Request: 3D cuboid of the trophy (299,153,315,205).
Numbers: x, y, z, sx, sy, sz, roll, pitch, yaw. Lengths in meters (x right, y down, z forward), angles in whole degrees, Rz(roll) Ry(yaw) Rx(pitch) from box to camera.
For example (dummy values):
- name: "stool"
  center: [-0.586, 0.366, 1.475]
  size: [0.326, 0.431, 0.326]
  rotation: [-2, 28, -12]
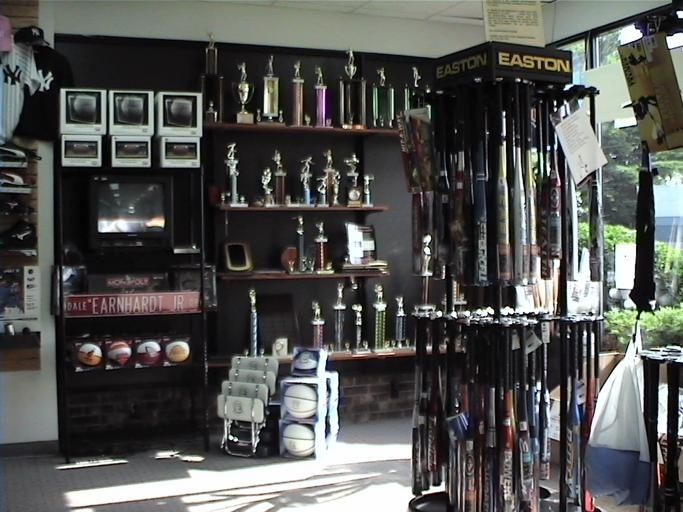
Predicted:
- name: "trophy"
  center: [-0.346, -0.717, 5.486]
  size: [0.152, 0.421, 0.109]
  rotation: [0, 6, -25]

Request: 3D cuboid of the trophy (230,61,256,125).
- name: "trophy"
  center: [-0.892, -1.456, 5.282]
  size: [0.206, 0.496, 0.201]
  rotation: [4, 12, 16]

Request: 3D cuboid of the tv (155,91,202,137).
- name: "tv"
  center: [-1.340, -1.192, 5.009]
  size: [0.492, 0.358, 0.501]
  rotation: [-3, 8, -40]

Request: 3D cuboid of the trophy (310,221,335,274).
- name: "trophy"
  center: [-0.175, -0.088, 5.482]
  size: [0.181, 0.473, 0.286]
  rotation: [1, 3, -2]

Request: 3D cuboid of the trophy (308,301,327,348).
- name: "trophy"
  center: [-0.233, 0.639, 5.496]
  size: [0.142, 0.427, 0.323]
  rotation: [0, 3, -2]

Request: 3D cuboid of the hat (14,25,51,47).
- name: "hat"
  center: [-2.518, -1.787, 4.749]
  size: [0.221, 0.121, 0.142]
  rotation: [8, 17, 12]

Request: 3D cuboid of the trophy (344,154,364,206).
- name: "trophy"
  center: [0.111, -0.726, 5.546]
  size: [0.172, 0.477, 0.153]
  rotation: [-2, 8, 1]

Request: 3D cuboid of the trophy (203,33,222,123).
- name: "trophy"
  center: [-1.148, -1.547, 5.163]
  size: [0.174, 0.753, 0.137]
  rotation: [1, 3, -1]

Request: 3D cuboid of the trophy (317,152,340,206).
- name: "trophy"
  center: [-0.102, -0.728, 5.505]
  size: [0.163, 0.507, 0.199]
  rotation: [-3, 2, -8]

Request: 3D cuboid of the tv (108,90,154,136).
- name: "tv"
  center: [-1.830, -1.237, 4.896]
  size: [0.388, 0.373, 0.387]
  rotation: [-7, 26, -33]

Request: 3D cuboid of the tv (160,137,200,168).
- name: "tv"
  center: [-1.345, -0.828, 4.851]
  size: [0.265, 0.207, 0.274]
  rotation: [0, 0, -15]

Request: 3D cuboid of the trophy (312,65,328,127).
- name: "trophy"
  center: [-0.195, -1.496, 5.470]
  size: [0.110, 0.603, 0.237]
  rotation: [0, 3, -3]

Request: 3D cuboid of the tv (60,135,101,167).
- name: "tv"
  center: [-2.094, -0.842, 4.760]
  size: [0.321, 0.274, 0.183]
  rotation: [0, -5, -4]

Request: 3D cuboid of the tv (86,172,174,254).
- name: "tv"
  center: [-1.878, -0.302, 5.109]
  size: [0.689, 0.624, 0.383]
  rotation: [-1, -13, -29]

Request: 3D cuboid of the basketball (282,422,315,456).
- name: "basketball"
  center: [-0.359, 1.473, 4.802]
  size: [0.277, 0.246, 0.209]
  rotation: [5, -1, 34]

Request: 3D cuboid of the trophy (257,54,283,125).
- name: "trophy"
  center: [-0.650, -1.499, 5.289]
  size: [0.250, 0.600, 0.208]
  rotation: [1, 16, -6]

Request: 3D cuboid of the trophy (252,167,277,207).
- name: "trophy"
  center: [-0.710, -0.639, 5.366]
  size: [0.193, 0.371, 0.343]
  rotation: [0, 4, -8]

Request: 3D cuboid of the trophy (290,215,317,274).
- name: "trophy"
  center: [-0.333, -0.108, 5.493]
  size: [0.328, 0.526, 0.307]
  rotation: [0, 0, -20]

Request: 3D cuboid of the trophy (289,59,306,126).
- name: "trophy"
  center: [-0.414, -1.515, 5.415]
  size: [0.115, 0.644, 0.268]
  rotation: [0, 3, -5]

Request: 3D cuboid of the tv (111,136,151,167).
- name: "tv"
  center: [-1.728, -0.861, 4.782]
  size: [0.334, 0.270, 0.247]
  rotation: [0, 1, -14]

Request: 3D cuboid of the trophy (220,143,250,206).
- name: "trophy"
  center: [-0.971, -0.738, 5.266]
  size: [0.219, 0.585, 0.319]
  rotation: [0, 3, -10]
